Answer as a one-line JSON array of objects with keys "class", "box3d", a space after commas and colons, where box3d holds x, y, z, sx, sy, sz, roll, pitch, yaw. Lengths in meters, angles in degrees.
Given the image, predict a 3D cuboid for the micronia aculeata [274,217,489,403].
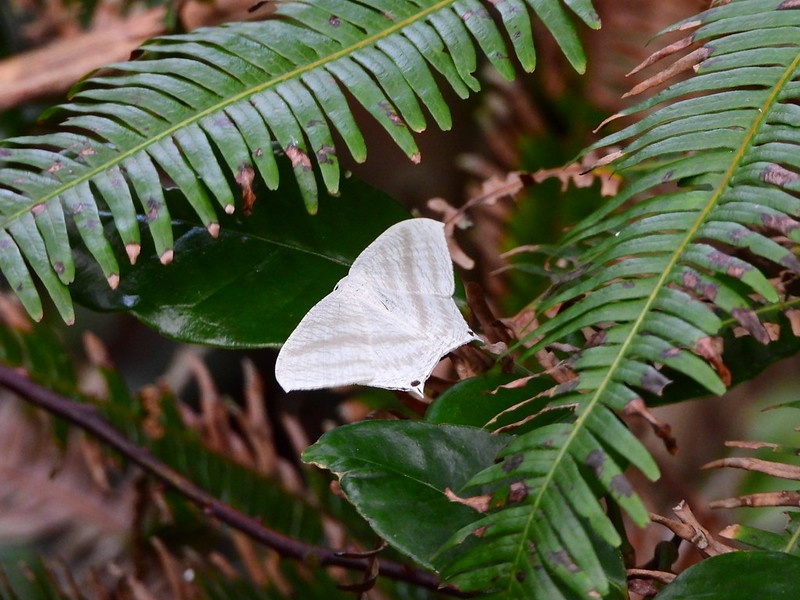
[{"class": "micronia aculeata", "box3d": [-0.017, 0.008, 1.200, 0.172, 0.150, 0.289, 3, 24, 36]}]
